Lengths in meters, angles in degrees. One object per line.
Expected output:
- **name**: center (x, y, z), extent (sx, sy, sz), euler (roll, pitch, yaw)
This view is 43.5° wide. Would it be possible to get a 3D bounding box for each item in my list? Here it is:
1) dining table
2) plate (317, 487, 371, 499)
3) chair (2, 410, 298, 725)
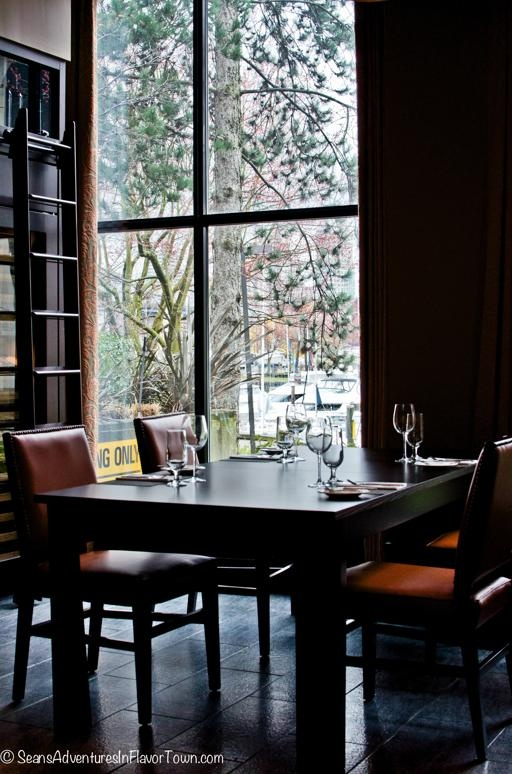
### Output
- **dining table**: center (-0.017, 0.561, 1.706), extent (0.881, 0.688, 0.807), euler (-5, -10, 33)
- **plate**: center (0.196, 0.239, 1.433), extent (0.112, 0.025, 0.171), euler (-1, -9, 8)
- **chair**: center (-0.331, 0.529, 2.370), extent (0.723, 1.379, 0.708), euler (-4, -5, 28)
